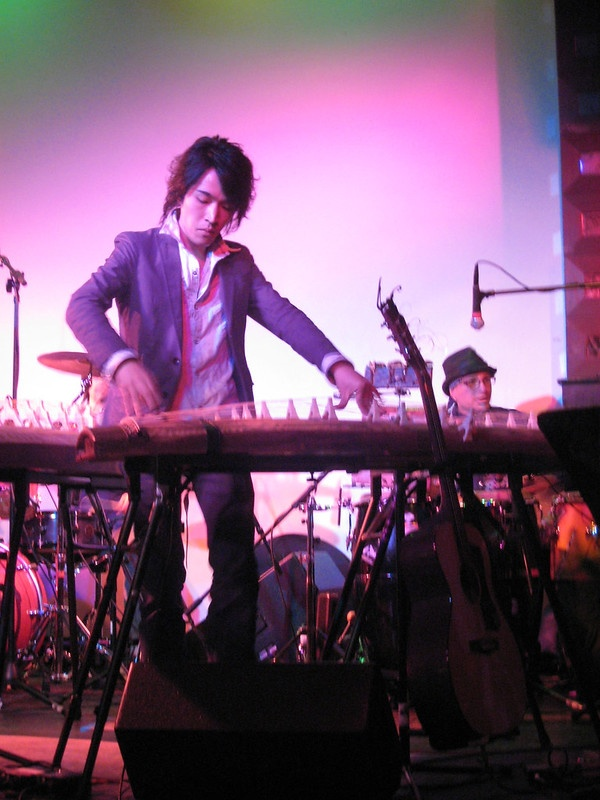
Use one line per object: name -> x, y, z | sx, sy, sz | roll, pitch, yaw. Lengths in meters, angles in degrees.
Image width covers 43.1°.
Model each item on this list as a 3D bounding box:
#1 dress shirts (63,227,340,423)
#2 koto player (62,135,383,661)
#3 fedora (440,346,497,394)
dress shirts -> -0.414, -0.275, 2.941 | 0.621, 0.669, 0.460 | 6, -18, -27
koto player -> -0.356, 0.103, 2.727 | 0.582, 1.963, 0.513 | 3, 6, -12
fedora -> 0.902, -0.176, 4.057 | 0.198, 0.146, 0.242 | -33, -12, 6
